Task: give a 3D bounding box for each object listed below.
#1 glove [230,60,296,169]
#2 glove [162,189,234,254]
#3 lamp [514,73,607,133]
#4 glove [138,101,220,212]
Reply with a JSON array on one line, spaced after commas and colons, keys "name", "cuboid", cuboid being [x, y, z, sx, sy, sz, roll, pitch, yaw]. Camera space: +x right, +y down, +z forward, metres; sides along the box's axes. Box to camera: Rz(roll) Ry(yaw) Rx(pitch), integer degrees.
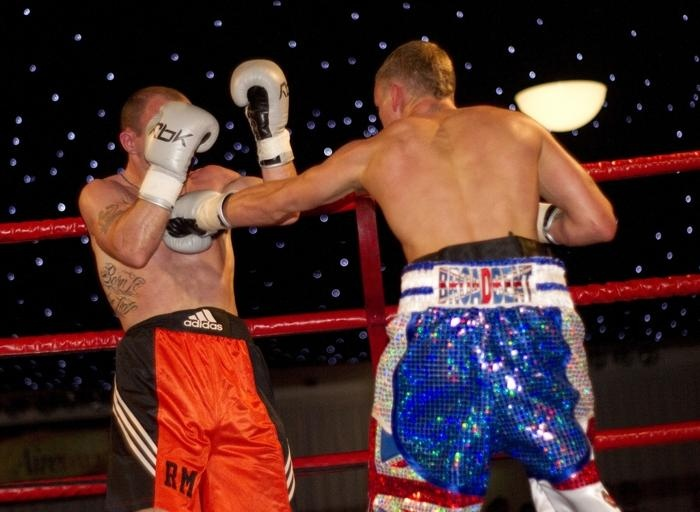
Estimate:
[{"name": "glove", "cuboid": [-0.426, -0.597, 3.074, 0.161, 0.458, 0.293, 0, 13, 39]}, {"name": "glove", "cuboid": [-0.611, -0.135, 2.753, 0.268, 0.131, 0.196, -15, -10, -29]}, {"name": "lamp", "cuboid": [1.931, -1.321, 6.408, 0.706, 0.238, 0.705, 0, -19, -42]}, {"name": "glove", "cuboid": [-0.695, -0.378, 2.878, 0.295, 0.428, 0.165, 13, 2, 5]}]
